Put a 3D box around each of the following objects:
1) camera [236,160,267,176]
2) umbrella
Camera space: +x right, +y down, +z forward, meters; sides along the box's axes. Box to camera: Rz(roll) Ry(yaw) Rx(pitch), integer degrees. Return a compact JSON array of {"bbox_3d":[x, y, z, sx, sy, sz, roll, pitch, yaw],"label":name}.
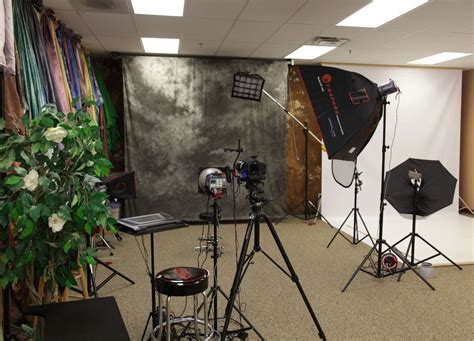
[{"bbox_3d":[0.136,-0.029,3.628,0.243,0.177,0.256,1,1,-4],"label":"camera"},{"bbox_3d":[2.185,0.205,4.582,0.783,0.682,0.457,3,9,22],"label":"umbrella"}]
